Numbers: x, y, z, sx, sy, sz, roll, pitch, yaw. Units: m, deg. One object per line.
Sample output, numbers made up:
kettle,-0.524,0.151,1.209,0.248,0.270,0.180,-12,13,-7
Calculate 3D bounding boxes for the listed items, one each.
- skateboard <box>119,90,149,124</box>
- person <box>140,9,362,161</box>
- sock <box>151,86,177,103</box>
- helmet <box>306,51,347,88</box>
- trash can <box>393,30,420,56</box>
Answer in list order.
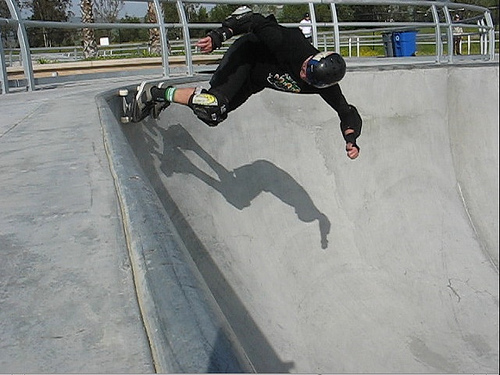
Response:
skateboard,-1.098,-0.777,3.592,0.260,0.317,0.377,-9,14,-14
person,-0.019,-0.911,3.336,1.851,1.322,0.642,-1,14,18
sock,-0.815,-0.886,3.576,0.222,0.093,0.144,13,11,25
helmet,0.577,-0.972,3.093,0.224,0.283,0.315,-7,42,-10
trash can,3.929,-3.686,9.675,0.535,0.676,0.595,-18,22,-18
